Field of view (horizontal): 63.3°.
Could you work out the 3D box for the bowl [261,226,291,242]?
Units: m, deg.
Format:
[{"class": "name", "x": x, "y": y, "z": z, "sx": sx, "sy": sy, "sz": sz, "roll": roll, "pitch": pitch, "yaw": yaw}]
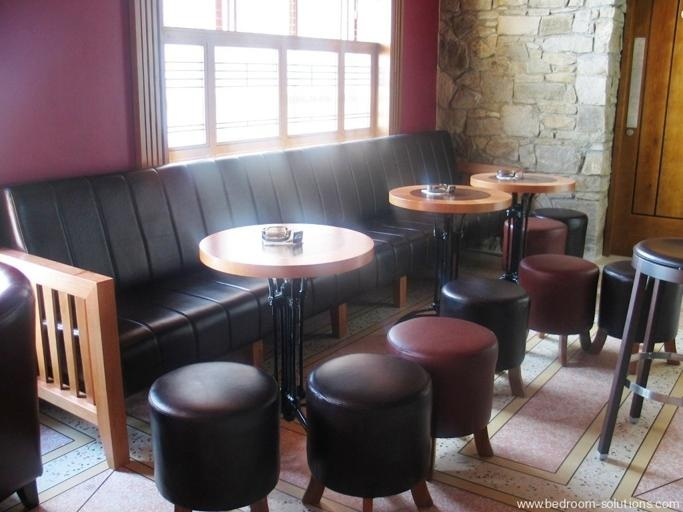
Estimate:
[{"class": "bowl", "x": -0.302, "y": -0.099, "z": 2.544, "sx": 0.132, "sy": 0.043, "sz": 0.099, "roll": -5, "pitch": 19, "yaw": -2}]
